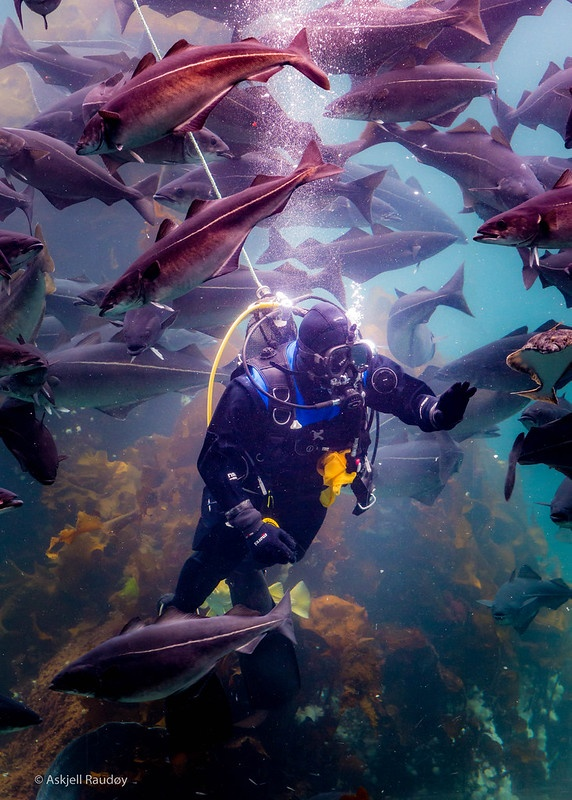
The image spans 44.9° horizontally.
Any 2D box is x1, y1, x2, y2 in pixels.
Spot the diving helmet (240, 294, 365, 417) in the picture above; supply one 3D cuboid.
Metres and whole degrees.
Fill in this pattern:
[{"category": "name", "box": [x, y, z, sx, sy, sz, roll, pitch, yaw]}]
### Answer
[{"category": "diving helmet", "box": [0.203, -0.303, 5.868, 1.308, 0.803, 1.315, -6, 3, -7]}]
